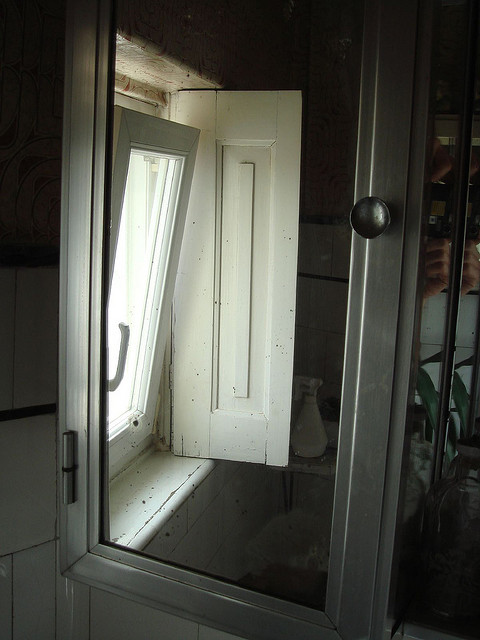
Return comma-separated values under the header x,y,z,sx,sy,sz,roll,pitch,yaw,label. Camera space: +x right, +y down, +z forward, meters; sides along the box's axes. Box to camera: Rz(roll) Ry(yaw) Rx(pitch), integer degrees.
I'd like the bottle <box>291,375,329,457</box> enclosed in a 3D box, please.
x,y,z,sx,sy,sz,roll,pitch,yaw,label
0.090,0.126,0.693,0.054,0.106,0.010,5,4,36,bottle

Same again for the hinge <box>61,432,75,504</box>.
x,y,z,sx,sy,sz,roll,pitch,yaw,label
-0.284,0.245,0.883,0.021,0.120,0.012,3,3,9,hinge

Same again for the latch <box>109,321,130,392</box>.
x,y,z,sx,sy,sz,roll,pitch,yaw,label
-0.189,0.056,0.838,0.021,0.111,0.014,10,15,-19,latch
